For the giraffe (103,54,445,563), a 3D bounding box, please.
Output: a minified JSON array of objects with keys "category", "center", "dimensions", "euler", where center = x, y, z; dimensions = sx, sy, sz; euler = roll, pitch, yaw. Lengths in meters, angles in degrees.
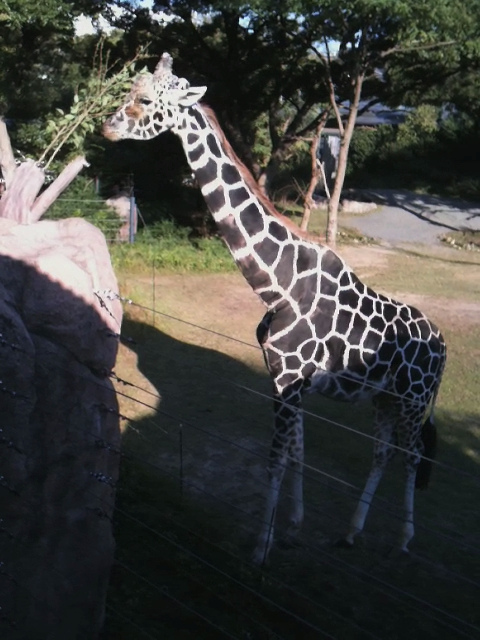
[{"category":"giraffe","center":[0.517,-0.103,5.411],"dimensions":[2.646,3.317,1.303],"euler":[5,15,-7]}]
